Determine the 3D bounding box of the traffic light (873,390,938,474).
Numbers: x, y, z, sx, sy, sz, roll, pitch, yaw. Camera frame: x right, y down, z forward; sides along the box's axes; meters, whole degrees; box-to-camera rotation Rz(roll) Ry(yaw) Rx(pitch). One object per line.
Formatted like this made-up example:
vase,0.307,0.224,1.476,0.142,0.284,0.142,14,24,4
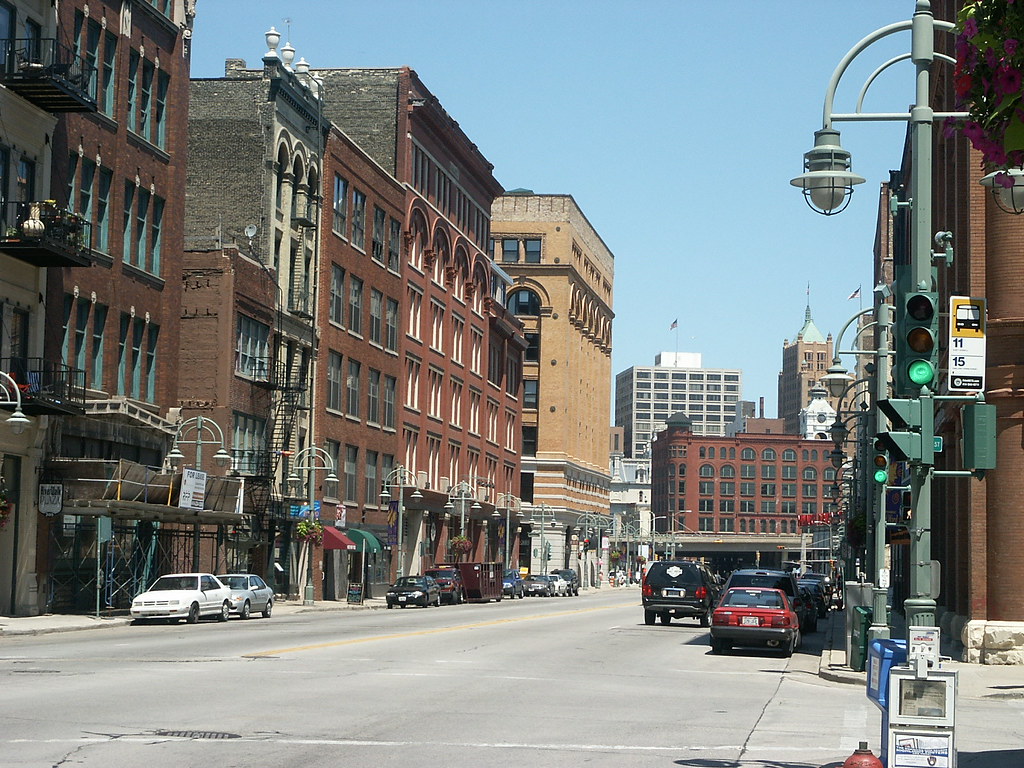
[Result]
traffic light,6.159,0.693,26.989,0.461,1.782,0.551,10,-9,-32

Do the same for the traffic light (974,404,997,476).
traffic light,7.132,0.792,26.153,0.325,1.007,0.434,-2,-13,12

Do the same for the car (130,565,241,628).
car,-10.665,6.986,56.313,1.742,1.769,3.615,-6,-16,25

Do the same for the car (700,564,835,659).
car,6.725,6.281,47.613,1.789,1.538,4.303,0,0,11
